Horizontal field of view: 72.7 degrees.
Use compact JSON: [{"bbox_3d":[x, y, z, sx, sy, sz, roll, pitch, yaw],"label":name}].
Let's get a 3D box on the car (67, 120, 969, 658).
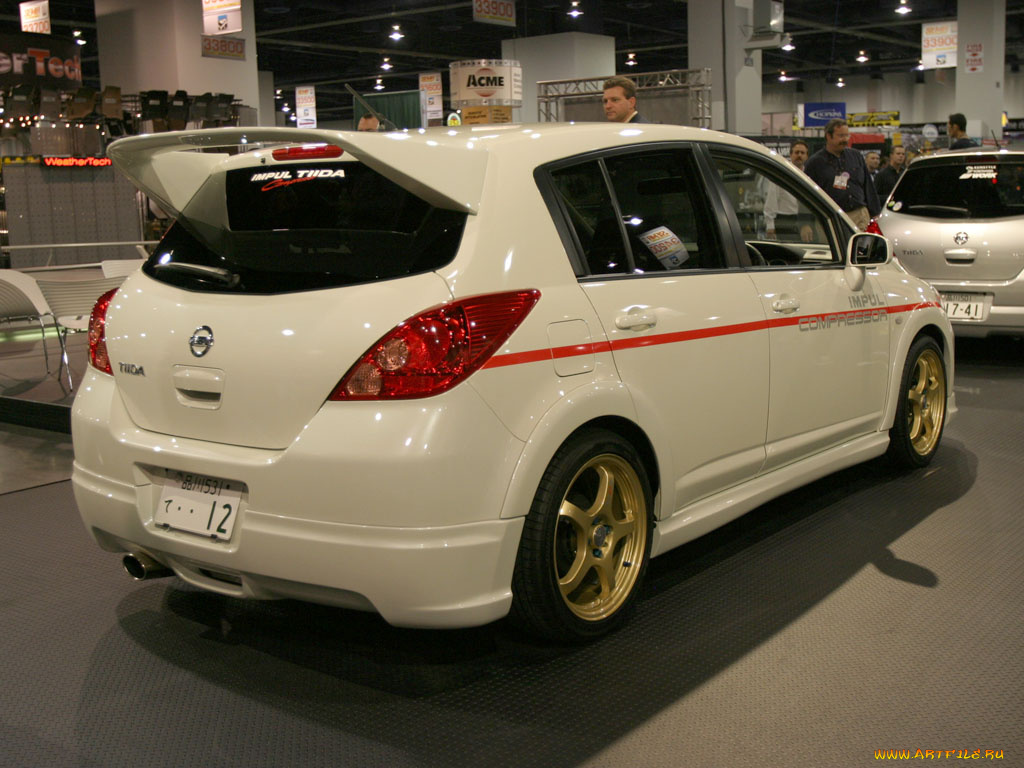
[{"bbox_3d":[0.164,-0.135,3.022,3.485,2.006,1.271,-8,10,-36],"label":"car"}]
